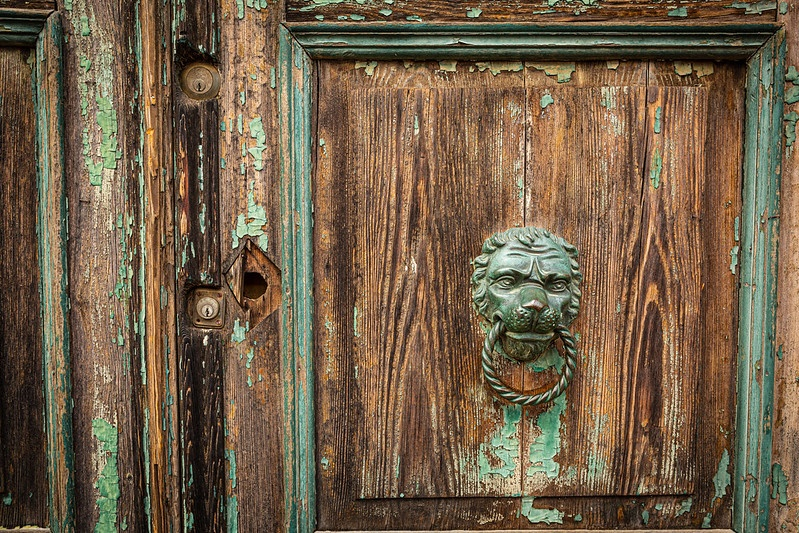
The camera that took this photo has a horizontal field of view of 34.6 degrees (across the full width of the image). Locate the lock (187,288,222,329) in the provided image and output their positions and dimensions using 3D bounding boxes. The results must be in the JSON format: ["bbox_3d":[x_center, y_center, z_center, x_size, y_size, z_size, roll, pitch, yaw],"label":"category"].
[{"bbox_3d":[-0.456,0.099,3.059,0.077,0.083,0.091,5,-70,-2],"label":"lock"}]

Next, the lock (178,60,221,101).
[{"bbox_3d":[-0.472,-0.429,3.026,0.095,0.059,0.057,6,-43,-6],"label":"lock"}]
